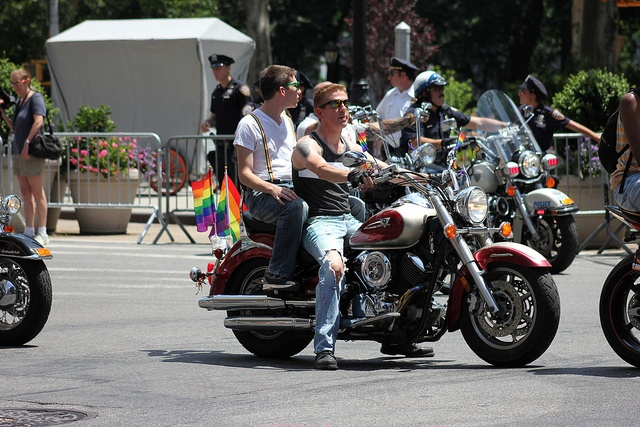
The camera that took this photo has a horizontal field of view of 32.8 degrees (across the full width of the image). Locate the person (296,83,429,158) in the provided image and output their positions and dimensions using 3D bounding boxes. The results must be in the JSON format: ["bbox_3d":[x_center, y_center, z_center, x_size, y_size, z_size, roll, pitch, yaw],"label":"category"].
[{"bbox_3d":[0.287,-1.083,12.590,1.167,0.733,0.787,0,7,17],"label":"person"}]

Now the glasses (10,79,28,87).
[{"bbox_3d":[-4.349,-1.918,15.853,0.254,0.151,0.230,-4,9,-22],"label":"glasses"}]

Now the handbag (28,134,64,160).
[{"bbox_3d":[-4.035,-0.992,15.983,0.503,0.367,0.304,-3,9,-19],"label":"handbag"}]

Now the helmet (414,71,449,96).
[{"bbox_3d":[1.359,-1.664,13.833,0.380,0.227,0.284,-5,1,28],"label":"helmet"}]

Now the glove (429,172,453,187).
[{"bbox_3d":[1.142,-0.332,10.376,0.193,0.135,0.134,5,9,29],"label":"glove"}]

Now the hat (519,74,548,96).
[{"bbox_3d":[3.040,-1.827,15.482,0.345,0.154,0.318,18,13,0],"label":"hat"}]

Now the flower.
[{"bbox_3d":[-3.529,-0.976,17.788,0.799,0.486,0.968,3,6,26],"label":"flower"}]

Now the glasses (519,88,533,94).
[{"bbox_3d":[2.919,-1.777,15.524,0.203,0.060,0.156,13,6,11],"label":"glasses"}]

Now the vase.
[{"bbox_3d":[-3.511,-0.190,17.712,0.994,0.856,1.039,1,-1,1],"label":"vase"}]
